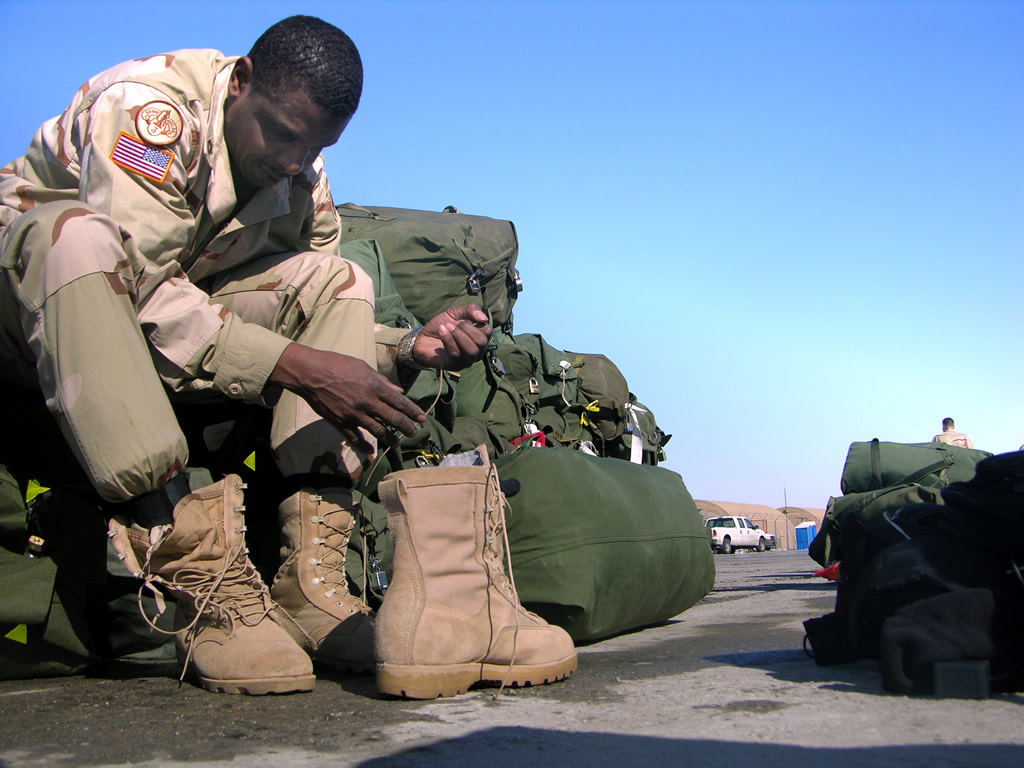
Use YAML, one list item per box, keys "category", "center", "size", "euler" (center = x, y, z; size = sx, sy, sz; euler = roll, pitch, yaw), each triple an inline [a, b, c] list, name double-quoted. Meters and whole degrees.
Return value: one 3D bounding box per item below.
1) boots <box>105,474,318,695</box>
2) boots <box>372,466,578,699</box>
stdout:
- category: "boots"
  center: [-0.708, 0.505, 2.298]
  size: [0.248, 0.427, 0.625]
  euler: [-15, 9, -40]
- category: "boots"
  center: [-0.055, 0.503, 2.317]
  size: [0.538, 0.540, 0.246]
  euler: [10, -21, -33]
